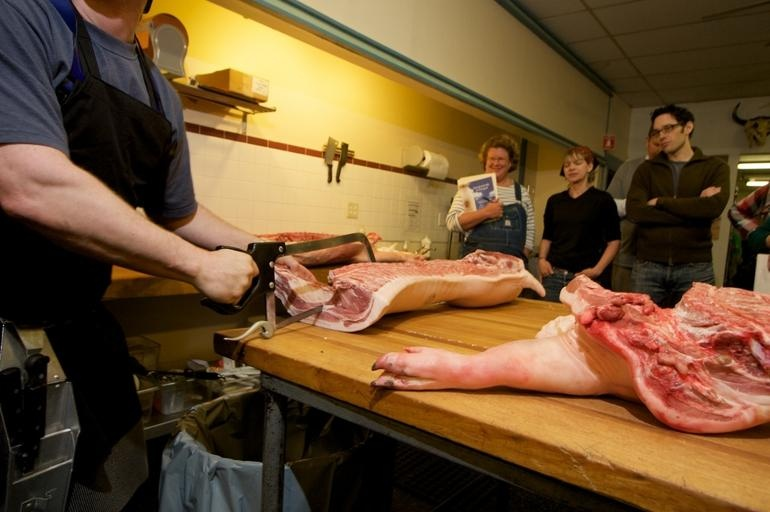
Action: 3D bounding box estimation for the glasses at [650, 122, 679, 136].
[{"bbox_3d":[2.120,-0.953,3.761,0.159,0.047,0.153,-7,-3,-29],"label":"glasses"}]

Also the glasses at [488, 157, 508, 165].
[{"bbox_3d":[0.947,-0.785,4.137,0.158,0.047,0.059,5,8,-4],"label":"glasses"}]

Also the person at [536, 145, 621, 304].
[{"bbox_3d":[1.707,-0.232,4.422,0.650,2.160,0.652,3,1,34],"label":"person"}]

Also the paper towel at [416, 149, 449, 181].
[{"bbox_3d":[0.549,-0.991,5.474,0.292,0.353,0.412,14,6,43],"label":"paper towel"}]
